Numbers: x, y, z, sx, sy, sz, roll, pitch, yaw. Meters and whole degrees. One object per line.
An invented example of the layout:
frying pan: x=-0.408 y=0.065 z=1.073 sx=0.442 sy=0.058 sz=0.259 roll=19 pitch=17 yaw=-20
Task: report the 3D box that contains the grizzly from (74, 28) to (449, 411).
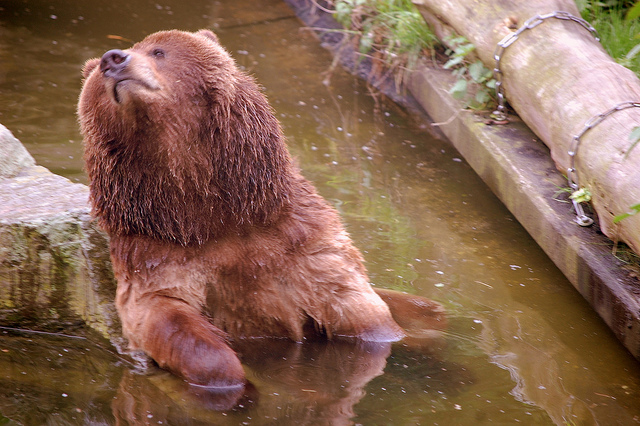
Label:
grizzly: x=-0.505 y=-0.030 z=4.402 sx=1.583 sy=1.870 sz=1.797 roll=-28 pitch=45 yaw=-36
